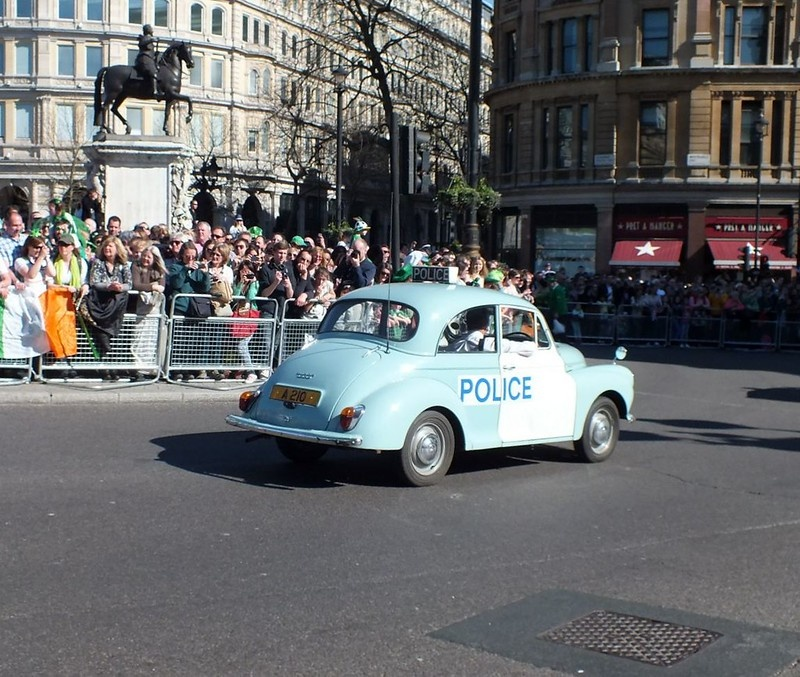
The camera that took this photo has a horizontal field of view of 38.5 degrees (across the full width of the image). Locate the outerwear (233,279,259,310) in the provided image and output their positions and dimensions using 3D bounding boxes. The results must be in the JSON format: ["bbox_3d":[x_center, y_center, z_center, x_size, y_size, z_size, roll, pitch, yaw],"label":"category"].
[{"bbox_3d":[-2.142,-0.623,15.772,0.341,0.389,0.148,7,-16,8],"label":"outerwear"}]

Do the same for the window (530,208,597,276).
[{"bbox_3d":[6.650,-3.735,46.287,2.585,3.193,0.189,0,26,4],"label":"window"}]

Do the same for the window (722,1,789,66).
[{"bbox_3d":[13.651,-11.602,43.690,2.202,2.587,0.179,-1,4,3],"label":"window"}]

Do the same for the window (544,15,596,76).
[{"bbox_3d":[6.881,-11.626,45.765,2.533,2.778,0.170,-2,-5,43],"label":"window"}]

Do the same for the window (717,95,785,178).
[{"bbox_3d":[13.434,-7.766,43.867,2.825,3.481,0.347,2,-23,16],"label":"window"}]

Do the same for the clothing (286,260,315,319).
[{"bbox_3d":[-1.411,-0.636,15.998,0.320,1.127,0.383,22,-37,-32],"label":"clothing"}]

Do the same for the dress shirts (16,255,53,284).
[{"bbox_3d":[-4.628,-0.839,14.382,0.439,0.318,0.593,2,8,-1],"label":"dress shirts"}]

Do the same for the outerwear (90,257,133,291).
[{"bbox_3d":[-3.664,-0.786,14.376,0.497,0.357,0.393,0,8,-15],"label":"outerwear"}]

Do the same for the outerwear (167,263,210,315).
[{"bbox_3d":[-2.801,-0.597,15.197,0.557,0.835,0.496,4,-15,-21],"label":"outerwear"}]

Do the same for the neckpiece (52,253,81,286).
[{"bbox_3d":[-4.332,-0.870,14.882,0.305,0.432,0.158,9,-3,-40],"label":"neckpiece"}]

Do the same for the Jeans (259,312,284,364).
[{"bbox_3d":[-1.750,-0.007,15.567,0.134,0.632,0.425,6,-5,-5],"label":"Jeans"}]

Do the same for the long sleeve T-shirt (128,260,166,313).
[{"bbox_3d":[-3.256,-0.627,14.809,0.418,0.658,0.378,1,10,-25],"label":"long sleeve T-shirt"}]

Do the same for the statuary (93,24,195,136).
[{"bbox_3d":[-5.198,-5.124,23.280,1.939,2.537,0.904,2,-12,-13],"label":"statuary"}]

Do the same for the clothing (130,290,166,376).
[{"bbox_3d":[-3.275,-0.091,14.707,0.394,0.996,0.292,-1,8,-19],"label":"clothing"}]

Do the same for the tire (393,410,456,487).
[{"bbox_3d":[0.195,0.972,10.240,0.194,0.666,0.619,-2,2,39],"label":"tire"}]

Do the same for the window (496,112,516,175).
[{"bbox_3d":[4.735,-8.282,49.402,0.213,2.641,0.912,-1,3,-37],"label":"window"}]

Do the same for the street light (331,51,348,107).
[{"bbox_3d":[-1.663,-6.659,31.327,0.382,1.547,0.370,-2,5,-23],"label":"street light"}]

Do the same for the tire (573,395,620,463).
[{"bbox_3d":[2.024,0.930,11.877,0.621,0.676,0.237,0,9,-35],"label":"tire"}]
